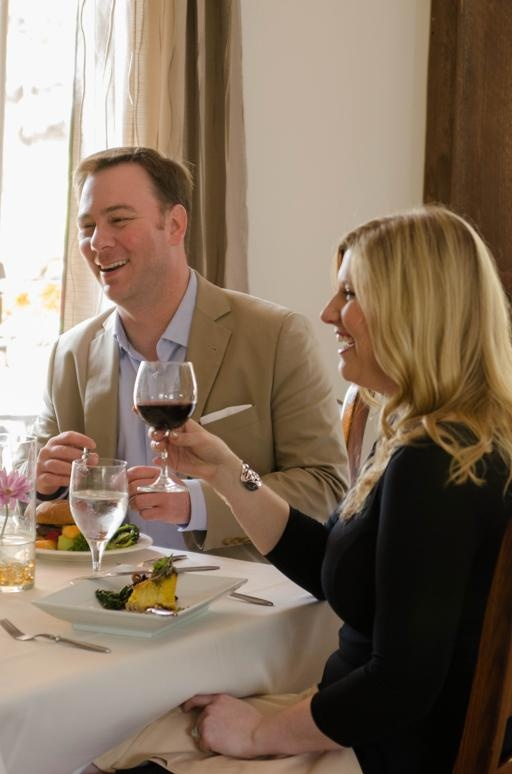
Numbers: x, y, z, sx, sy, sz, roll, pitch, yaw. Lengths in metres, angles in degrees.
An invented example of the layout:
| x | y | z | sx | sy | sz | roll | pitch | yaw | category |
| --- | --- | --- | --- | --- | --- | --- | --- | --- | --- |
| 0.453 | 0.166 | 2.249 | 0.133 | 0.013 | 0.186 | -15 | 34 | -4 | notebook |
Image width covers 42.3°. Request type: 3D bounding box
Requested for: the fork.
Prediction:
| x | y | z | sx | sy | sz | roll | pitch | yaw | category |
| --- | --- | --- | --- | --- | --- | --- | --- | --- | --- |
| -0.241 | 0.302 | 0.799 | 0.115 | 0.016 | 0.014 | 10 | 11 | 29 | fork |

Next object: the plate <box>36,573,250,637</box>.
| x | y | z | sx | sy | sz | roll | pitch | yaw | category |
| --- | --- | --- | --- | --- | --- | --- | --- | --- | --- |
| -0.146 | 0.284 | 0.877 | 0.110 | 0.026 | 0.151 | 1 | 0 | 31 | plate |

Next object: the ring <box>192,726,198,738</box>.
| x | y | z | sx | sy | sz | roll | pitch | yaw | category |
| --- | --- | --- | --- | --- | --- | --- | --- | --- | --- |
| -0.078 | 0.436 | 0.839 | 0.005 | 0.010 | 0.013 | 22 | 24 | -22 | ring |

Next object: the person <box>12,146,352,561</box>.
| x | y | z | sx | sy | sz | roll | pitch | yaw | category |
| --- | --- | --- | --- | --- | --- | --- | --- | --- | --- |
| -0.287 | -0.063 | 1.876 | 0.999 | 1.111 | 0.716 | -2 | 1 | 24 | person |
